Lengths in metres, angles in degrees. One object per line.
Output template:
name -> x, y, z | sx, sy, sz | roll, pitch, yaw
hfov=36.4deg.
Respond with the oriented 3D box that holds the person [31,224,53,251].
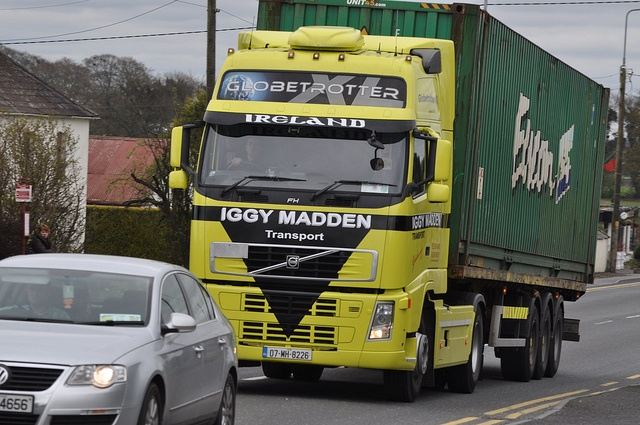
person -> -6.960, 0.679, 24.403 | 0.427, 0.695, 1.003 | 0, 0, -18
